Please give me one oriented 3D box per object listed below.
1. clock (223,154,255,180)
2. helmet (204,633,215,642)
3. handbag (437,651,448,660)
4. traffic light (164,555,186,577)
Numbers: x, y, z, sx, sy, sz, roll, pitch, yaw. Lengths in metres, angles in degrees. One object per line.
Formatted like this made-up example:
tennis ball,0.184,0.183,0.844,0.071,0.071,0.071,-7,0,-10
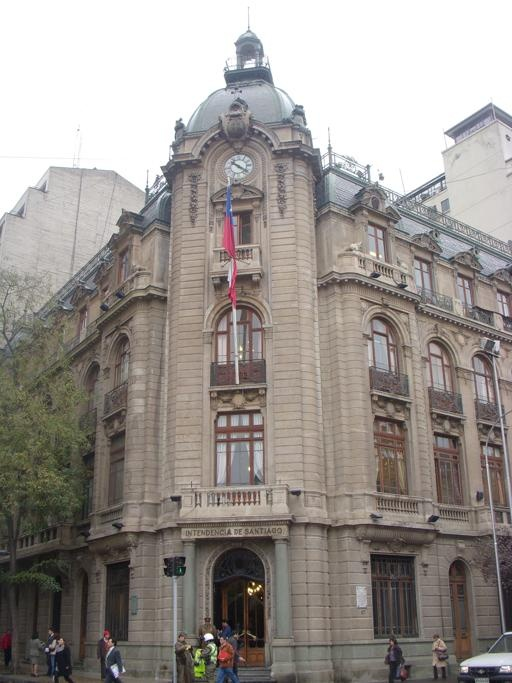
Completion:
clock,-0.691,-7.210,31.621,1.217,1.107,0.067,-10,-30,7
helmet,-1.224,7.627,19.681,0.427,0.169,0.546,1,-14,-9
handbag,6.223,10.534,25.539,0.314,0.330,0.538,-8,-25,14
traffic light,-2.160,5.882,19.937,0.474,0.597,1.051,4,-24,-11
